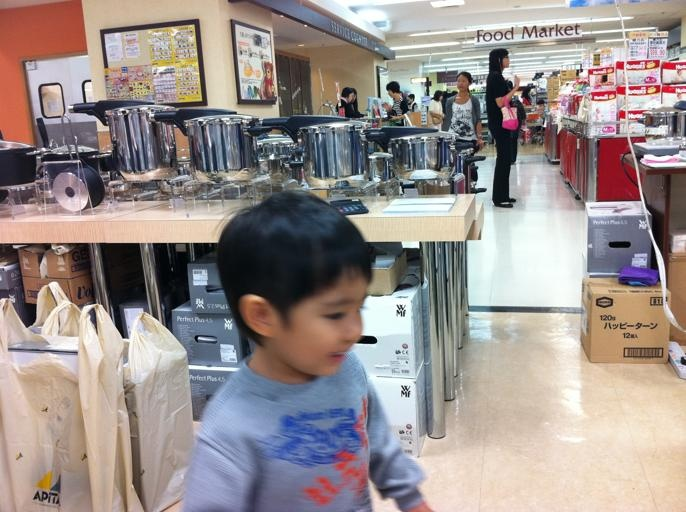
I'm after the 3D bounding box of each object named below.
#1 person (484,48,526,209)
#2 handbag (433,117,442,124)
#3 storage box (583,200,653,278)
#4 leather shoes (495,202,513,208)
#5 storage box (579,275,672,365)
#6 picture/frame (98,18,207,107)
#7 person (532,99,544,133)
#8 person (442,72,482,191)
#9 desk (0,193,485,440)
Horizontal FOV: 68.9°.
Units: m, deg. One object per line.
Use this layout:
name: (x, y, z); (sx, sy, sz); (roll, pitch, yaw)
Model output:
person: (2.153, -1.709, 6.829); (0.355, 2.143, 0.759); (-1, 10, 19)
handbag: (2.006, -2.904, 10.702); (0.147, 0.160, 0.148); (1, 6, 4)
storage box: (1.695, -0.110, 3.085); (0.379, 0.427, 0.330); (-1, 11, 18)
leather shoes: (2.312, -0.737, 7.192); (0.174, 0.061, 0.097); (4, 19, 20)
storage box: (1.633, 0.324, 2.984); (0.439, 0.482, 0.426); (2, 7, 15)
picture/frame: (-1.734, -1.738, 4.611); (0.941, 0.743, 0.174); (-3, 10, 9)
person: (6.996, -4.974, 17.575); (0.308, 1.004, 0.609); (3, -1, -10)
person: (1.604, -1.636, 6.827); (0.559, 1.703, 0.400); (4, 28, 18)
desk: (-0.348, -0.082, 2.380); (1.486, 0.789, 1.572); (0, 11, 11)
